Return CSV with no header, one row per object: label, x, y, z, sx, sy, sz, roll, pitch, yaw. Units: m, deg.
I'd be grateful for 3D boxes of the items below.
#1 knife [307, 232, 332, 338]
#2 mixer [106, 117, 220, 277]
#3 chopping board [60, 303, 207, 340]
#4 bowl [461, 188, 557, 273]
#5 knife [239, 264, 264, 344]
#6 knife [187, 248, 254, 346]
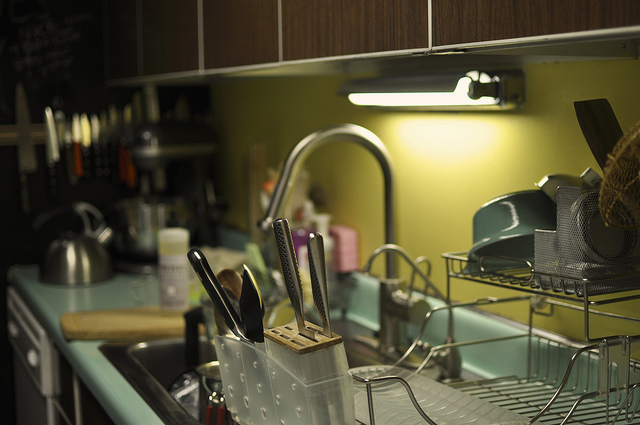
knife,-0.003,0.133,1.076,0.037,0.196,0.043,0,6,19
mixer,-0.643,-0.029,2.686,0.415,0.803,0.540,-5,10,-28
chopping board,-0.606,0.349,1.884,0.397,0.093,0.218,-4,6,-14
bowl,0.391,0.046,1.241,0.193,0.190,0.128,0,6,21
knife,-0.140,0.179,1.154,0.025,0.146,0.085,-6,7,-33
knife,-0.254,0.217,1.464,0.049,0.331,0.047,-23,-6,-17
